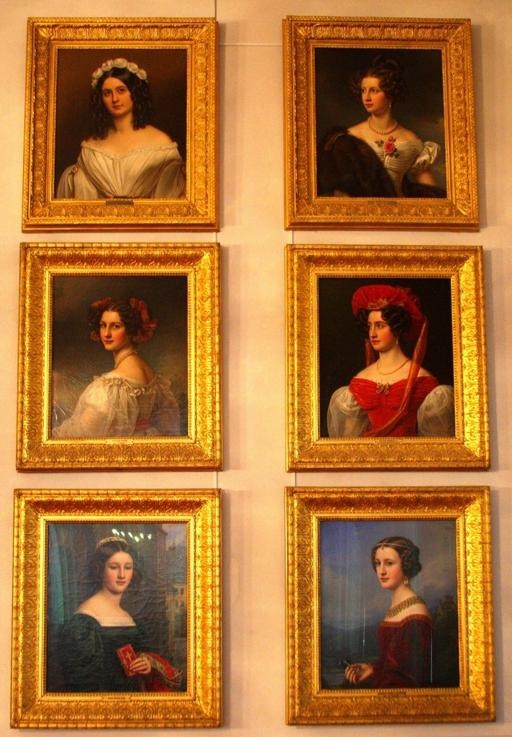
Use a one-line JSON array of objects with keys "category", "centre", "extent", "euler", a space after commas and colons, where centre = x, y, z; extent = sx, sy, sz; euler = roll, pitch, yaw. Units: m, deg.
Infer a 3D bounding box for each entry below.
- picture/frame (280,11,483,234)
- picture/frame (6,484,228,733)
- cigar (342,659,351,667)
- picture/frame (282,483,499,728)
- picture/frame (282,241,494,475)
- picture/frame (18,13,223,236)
[{"category": "picture/frame", "centre": [0.418, -0.836, 4.988], "extent": [0.828, 0.837, 0.044], "euler": [0, -7, -5]}, {"category": "picture/frame", "centre": [-0.477, 0.830, 4.761], "extent": [0.864, 0.867, 0.064], "euler": [0, -10, -2]}, {"category": "cigar", "centre": [0.300, 0.975, 4.753], "extent": [0.011, 0.017, 0.019], "euler": [-49, -53, 6]}, {"category": "picture/frame", "centre": [0.430, 0.821, 4.788], "extent": [0.849, 0.882, 0.067], "euler": [-1, -8, -1]}, {"category": "picture/frame", "centre": [0.431, -0.012, 4.892], "extent": [0.842, 0.871, 0.044], "euler": [-1, -8, -2]}, {"category": "picture/frame", "centre": [-0.470, -0.822, 4.959], "extent": [0.814, 0.795, 0.064], "euler": [0, -3, 1]}]
